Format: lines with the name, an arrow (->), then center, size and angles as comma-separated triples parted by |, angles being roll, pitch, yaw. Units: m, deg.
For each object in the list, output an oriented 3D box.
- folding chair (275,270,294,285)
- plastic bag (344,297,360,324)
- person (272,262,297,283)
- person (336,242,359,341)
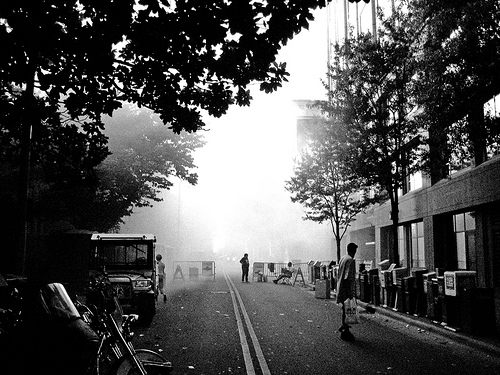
folding chair -> 2.070, 5.361, 31.810 | 0.715, 0.904, 0.826 | 2, -13, 9
plastic bag -> 2.524, 3.058, 13.286 | 0.307, 0.635, 0.581 | -4, -13, 17
person -> 2.224, 5.544, 34.862 | 1.103, 0.818, 1.008 | -15, 3, -26
person -> 2.425, 2.585, 13.371 | 0.474, 2.407, 0.530 | -2, -11, 11
